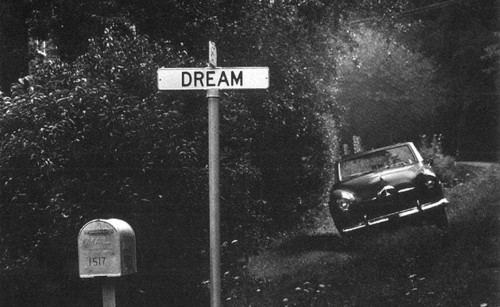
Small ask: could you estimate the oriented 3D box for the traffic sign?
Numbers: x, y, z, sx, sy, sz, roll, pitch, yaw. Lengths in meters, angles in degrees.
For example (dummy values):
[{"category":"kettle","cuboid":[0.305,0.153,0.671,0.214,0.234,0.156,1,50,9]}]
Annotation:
[{"category":"traffic sign","cuboid":[-0.539,-1.083,8.207,1.594,0.413,0.222,-1,37,0]}]
